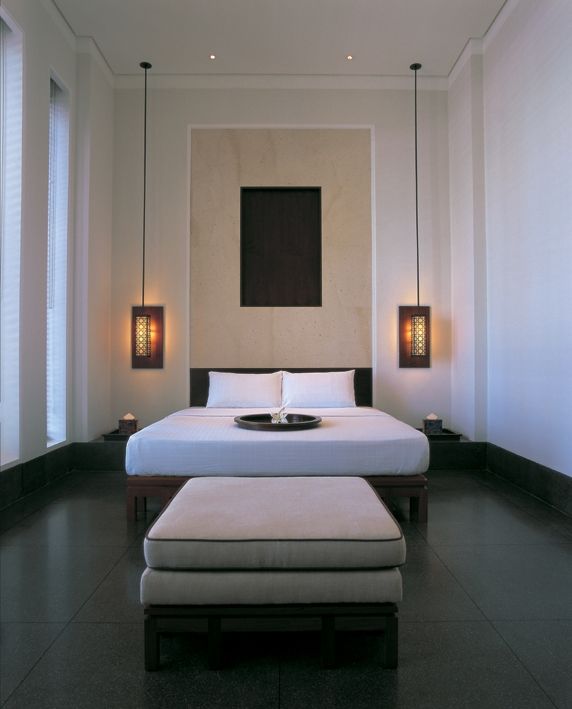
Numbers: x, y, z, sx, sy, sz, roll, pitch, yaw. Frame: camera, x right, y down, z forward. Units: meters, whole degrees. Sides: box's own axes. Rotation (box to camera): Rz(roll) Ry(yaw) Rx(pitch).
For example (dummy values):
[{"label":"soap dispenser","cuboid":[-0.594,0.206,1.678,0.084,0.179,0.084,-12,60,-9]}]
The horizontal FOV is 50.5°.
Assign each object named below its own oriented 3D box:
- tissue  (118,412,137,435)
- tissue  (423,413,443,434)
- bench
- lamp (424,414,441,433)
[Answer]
[{"label":"tissue ","cuboid":[-1.298,0.577,5.025,0.139,0.272,0.165,0,-2,12]},{"label":"tissue ","cuboid":[1.202,0.577,5.015,0.121,0.229,0.143,1,-9,0]},{"label":"bench","cuboid":[-0.025,0.670,2.053,0.511,0.368,0.617,0,1,-1]},{"label":"lamp","cuboid":[1.185,0.588,5.004,0.113,0.215,0.134,1,-10,1]}]
